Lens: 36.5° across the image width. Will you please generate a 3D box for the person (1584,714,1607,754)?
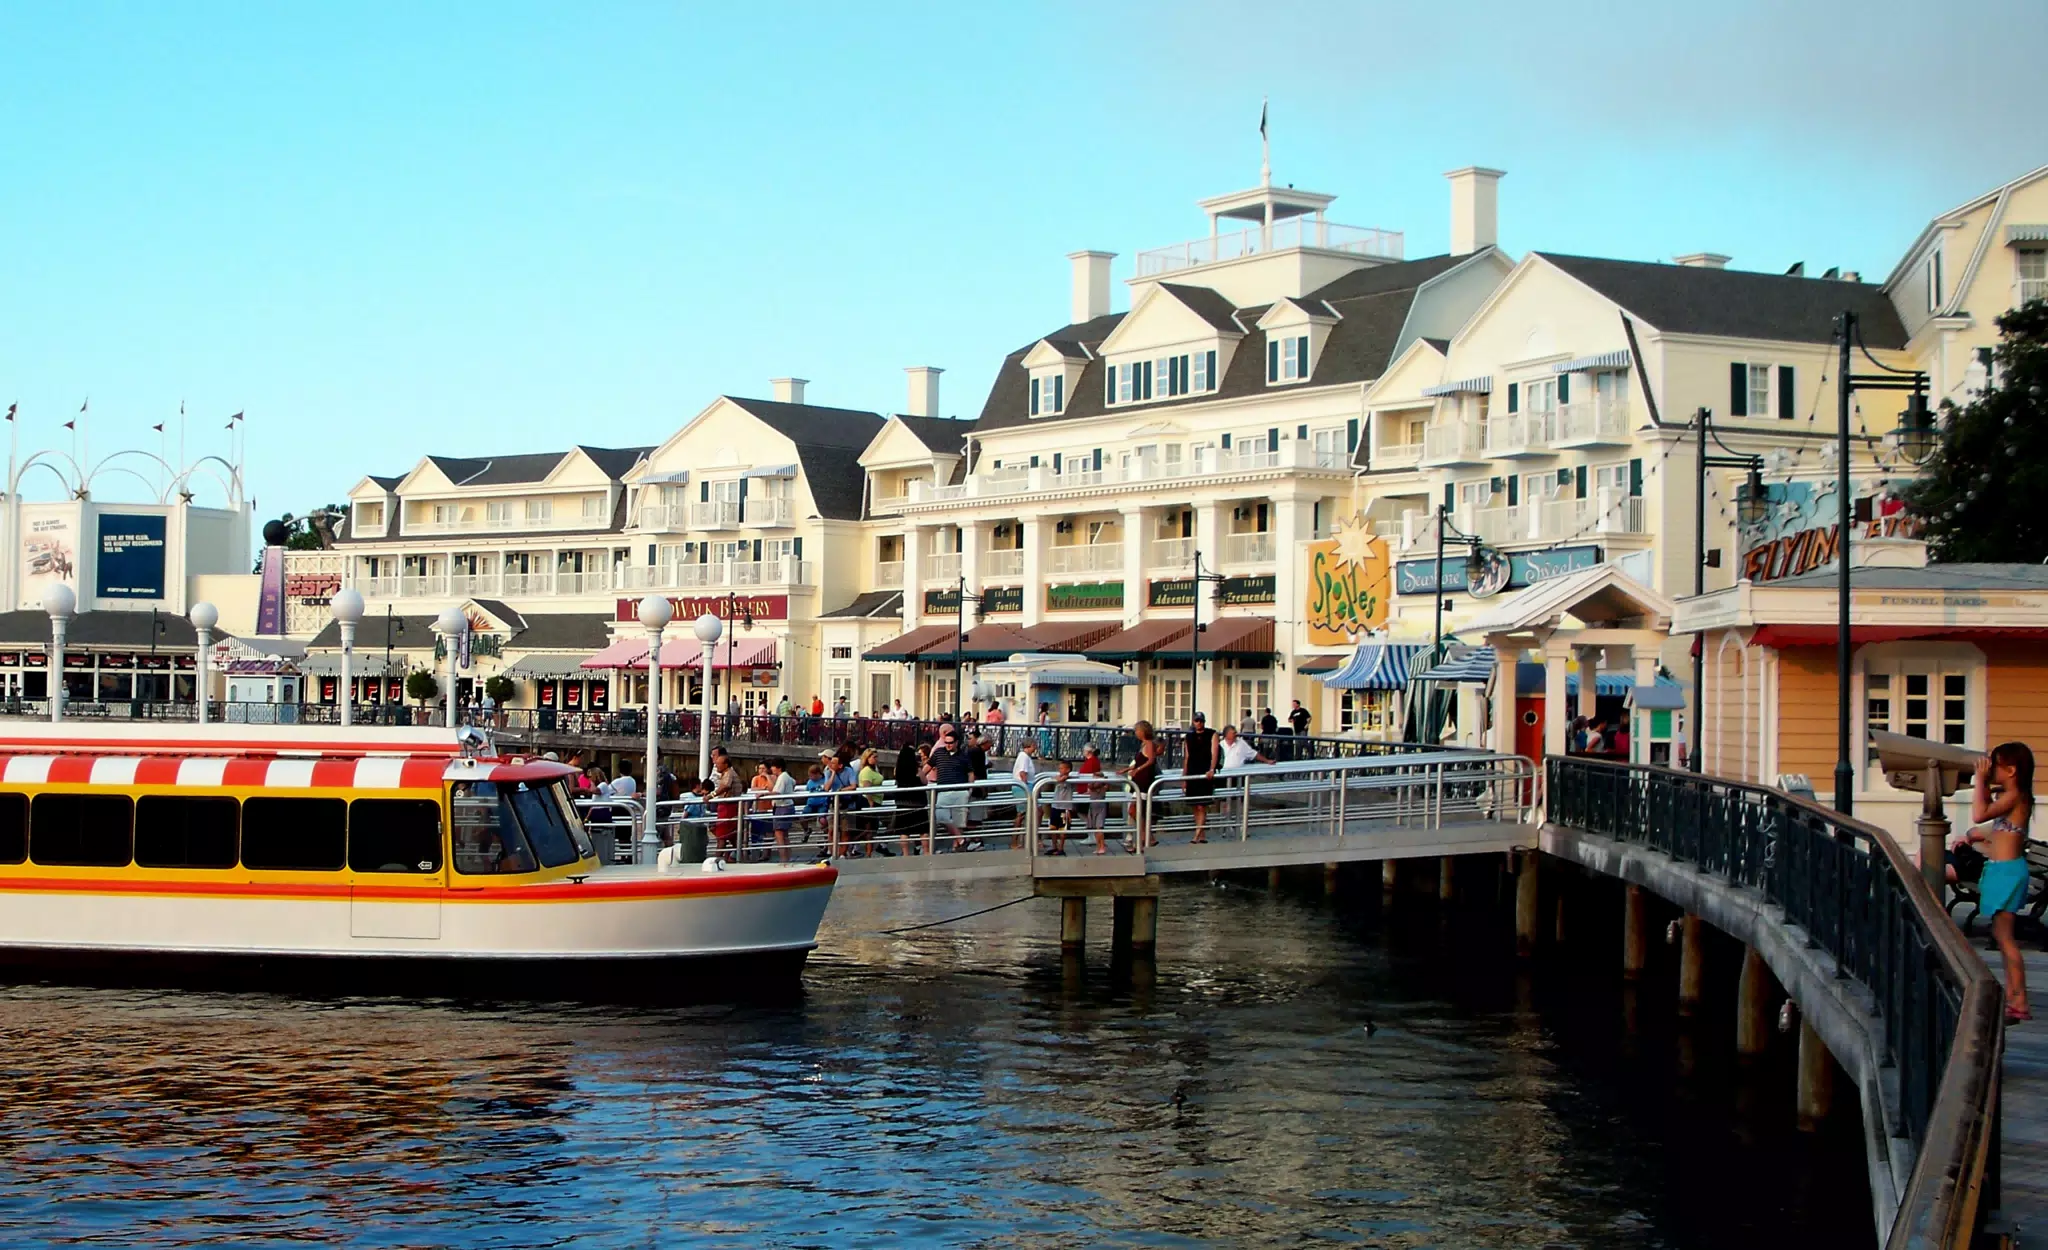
[{"bbox_3d":[11.159,2.140,61.909,0.394,0.693,1.621,1,6,10],"label":"person"}]
